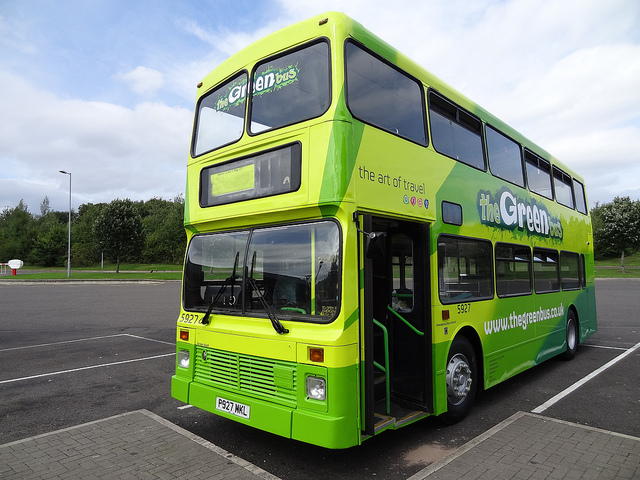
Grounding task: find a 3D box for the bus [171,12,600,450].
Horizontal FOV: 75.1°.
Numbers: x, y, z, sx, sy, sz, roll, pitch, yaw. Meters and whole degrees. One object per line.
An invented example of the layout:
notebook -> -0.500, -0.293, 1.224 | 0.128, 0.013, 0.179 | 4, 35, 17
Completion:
bus -> 2.134, 0.262, 9.344 | 3.736, 5.528, 10.130 | -4, -7, 42
